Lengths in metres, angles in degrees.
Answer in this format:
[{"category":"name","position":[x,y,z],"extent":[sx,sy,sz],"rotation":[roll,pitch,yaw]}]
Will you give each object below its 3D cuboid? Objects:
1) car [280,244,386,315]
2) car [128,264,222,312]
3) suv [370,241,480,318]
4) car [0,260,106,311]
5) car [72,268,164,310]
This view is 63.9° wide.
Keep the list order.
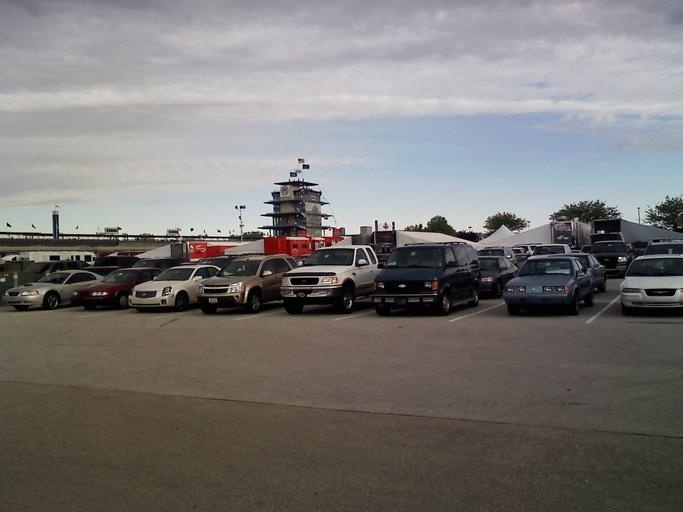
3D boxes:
[{"category":"car","position":[-0.393,0.779,19.041],"extent":[1.963,2.249,3.283],"rotation":[0,2,42]},{"category":"car","position":[-6.442,1.225,21.442],"extent":[1.636,1.164,3.711],"rotation":[-1,1,19]},{"category":"suv","position":[2.861,0.687,17.663],"extent":[1.934,1.615,3.261],"rotation":[-3,-2,29]},{"category":"car","position":[-12.512,1.207,24.282],"extent":[2.021,1.407,4.537],"rotation":[-1,0,21]},{"category":"car","position":[-9.123,1.341,23.043],"extent":[1.424,1.056,3.303],"rotation":[-1,0,23]}]
